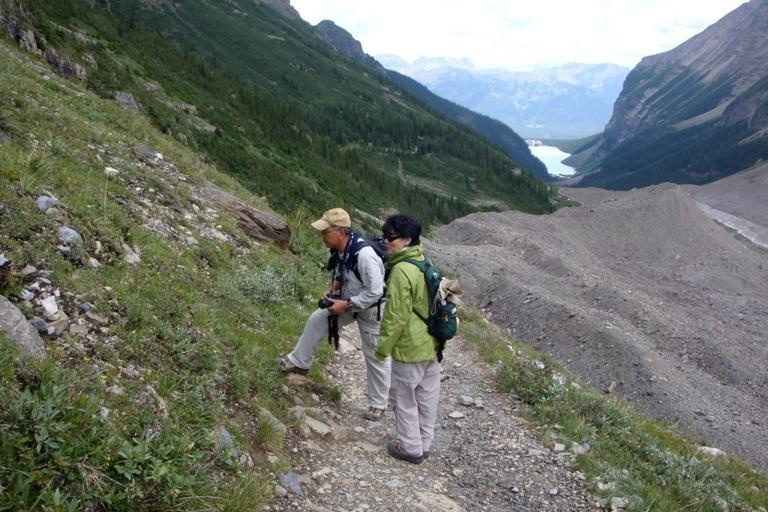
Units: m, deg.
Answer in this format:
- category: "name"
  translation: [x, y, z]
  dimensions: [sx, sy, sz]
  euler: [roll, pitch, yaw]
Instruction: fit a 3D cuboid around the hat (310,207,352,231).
- category: "hat"
  translation: [-1.395, -0.994, 15.708]
  dimensions: [0.867, 0.479, 0.566]
  euler: [3, 9, -9]
